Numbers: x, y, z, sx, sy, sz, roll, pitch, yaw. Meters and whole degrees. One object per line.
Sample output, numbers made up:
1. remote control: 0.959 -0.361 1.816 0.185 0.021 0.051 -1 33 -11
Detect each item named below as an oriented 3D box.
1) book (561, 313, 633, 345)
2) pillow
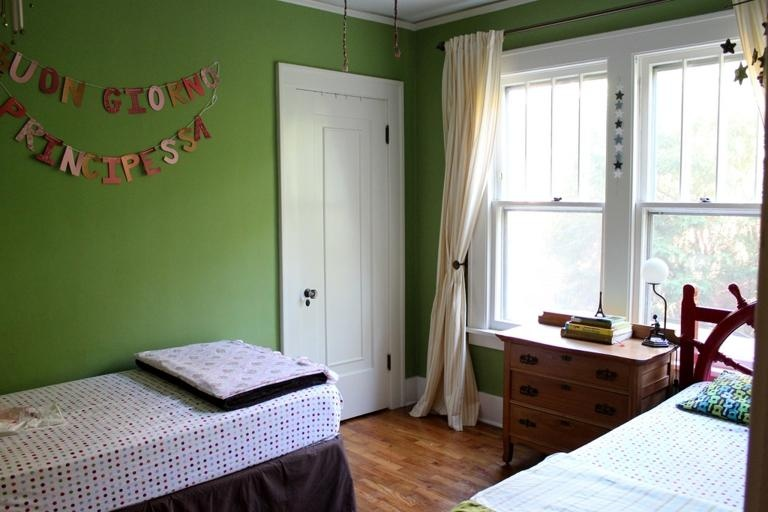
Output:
1. book: 1.411 0.495 3.768 0.261 0.097 0.245 -3 3 -33
2. pillow: 1.912 0.800 3.225 0.350 0.186 0.353 6 10 31
